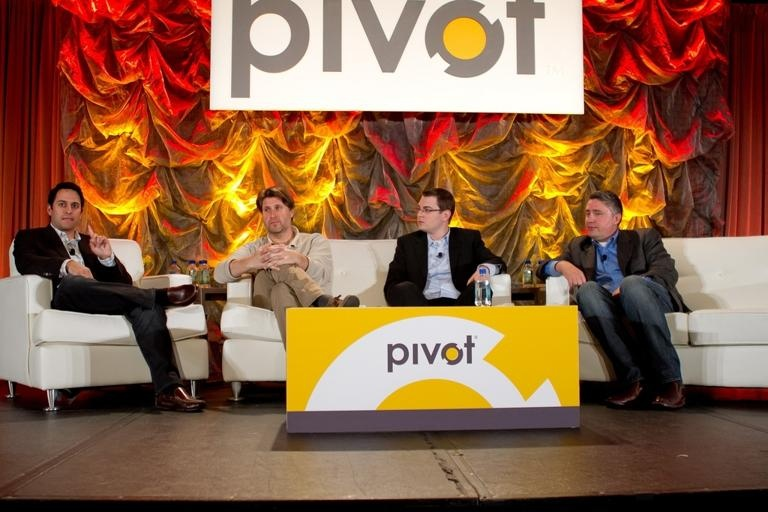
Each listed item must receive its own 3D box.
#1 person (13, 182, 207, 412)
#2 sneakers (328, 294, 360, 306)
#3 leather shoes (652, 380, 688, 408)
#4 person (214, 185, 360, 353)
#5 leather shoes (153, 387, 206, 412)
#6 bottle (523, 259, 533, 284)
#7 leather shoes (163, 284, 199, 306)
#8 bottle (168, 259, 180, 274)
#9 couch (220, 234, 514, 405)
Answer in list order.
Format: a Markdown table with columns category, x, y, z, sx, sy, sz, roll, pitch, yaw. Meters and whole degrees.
| category | x | y | z | sx | sy | sz | roll | pitch | yaw |
| --- | --- | --- | --- | --- | --- | --- | --- | --- | --- |
| person | -1.680 | 0.184 | 3.673 | 1.154 | 1.472 | 0.659 | -8 | -4 | 27 |
| sneakers | -0.217 | 0.255 | 3.426 | 0.067 | 0.086 | 0.196 | 0 | -14 | -34 |
| leather shoes | 1.623 | 0.786 | 3.433 | 0.250 | 0.110 | 0.100 | 13 | -13 | -44 |
| person | -0.664 | 0.165 | 3.805 | 0.765 | 1.201 | 1.070 | -4 | 0 | -18 |
| leather shoes | -1.150 | 0.810 | 3.453 | 0.322 | 0.137 | 0.121 | -3 | -7 | 23 |
| bottle | 1.148 | 0.121 | 4.842 | 0.085 | 0.192 | 0.283 | -2 | 3 | 12 |
| leather shoes | -1.188 | 0.227 | 3.579 | 0.169 | 0.106 | 0.108 | -9 | 5 | 3 |
| bottle | -1.639 | 0.084 | 4.755 | 0.097 | 0.100 | 0.174 | 1 | 9 | -13 |
| couch | -0.425 | 0.374 | 4.120 | 1.768 | 1.267 | 1.001 | 0 | -6 | -1 |
